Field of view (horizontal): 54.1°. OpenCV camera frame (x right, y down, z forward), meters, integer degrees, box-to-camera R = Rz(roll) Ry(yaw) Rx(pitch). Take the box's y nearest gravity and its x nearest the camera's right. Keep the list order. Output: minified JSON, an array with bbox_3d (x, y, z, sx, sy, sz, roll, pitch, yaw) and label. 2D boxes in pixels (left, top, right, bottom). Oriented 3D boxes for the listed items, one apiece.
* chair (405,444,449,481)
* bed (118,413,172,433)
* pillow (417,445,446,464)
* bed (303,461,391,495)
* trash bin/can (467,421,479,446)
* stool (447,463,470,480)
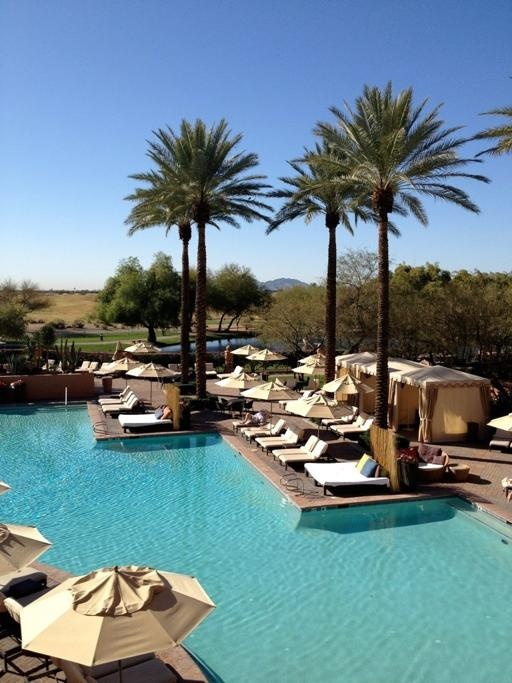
[{"bbox_3d":[4.906,3.393,14.112,0.872,0.512,1.091,-3,7,-1],"label":"chair"},{"bbox_3d":[-4.166,3.110,18.982,1.904,0.479,1.600,0,2,-20],"label":"bed"},{"bbox_3d":[5.021,3.254,14.333,0.480,0.144,0.480,-10,34,24],"label":"pillow"},{"bbox_3d":[2.361,3.576,13.082,1.948,0.468,1.847,0,2,-11],"label":"bed"},{"bbox_3d":[7.674,3.232,17.805,0.353,0.728,0.471,2,3,34],"label":"trash bin/can"},{"bbox_3d":[5.585,3.619,13.865,0.536,0.368,0.610,2,3,41],"label":"stool"}]
